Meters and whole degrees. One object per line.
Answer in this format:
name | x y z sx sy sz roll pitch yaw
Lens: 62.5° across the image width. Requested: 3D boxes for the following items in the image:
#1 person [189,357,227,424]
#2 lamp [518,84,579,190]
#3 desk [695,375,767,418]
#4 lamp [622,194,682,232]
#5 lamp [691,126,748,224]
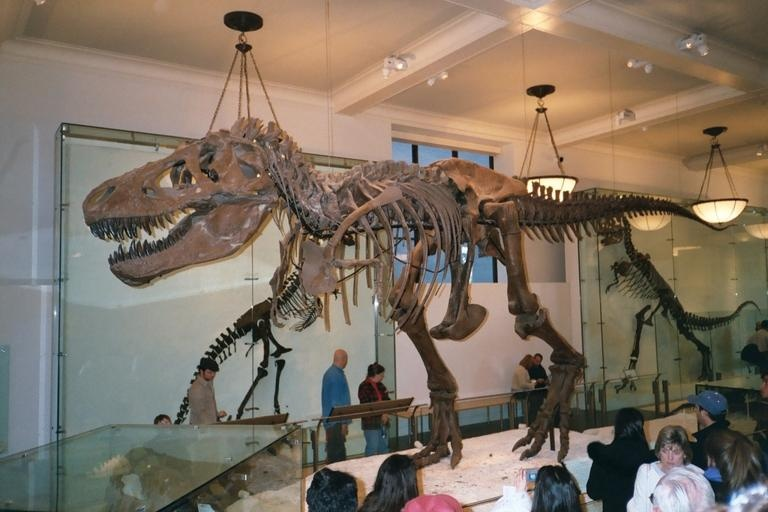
person | -2.095 1.565 7.349 0.383 0.747 0.512 1 -7 -14
lamp | 2.368 -1.714 9.512 1.021 1.570 1.007 -4 0 -21
desk | 3.939 1.594 7.016 0.623 0.392 0.627 -1 -4 20
lamp | 3.690 -0.541 8.925 0.594 0.371 0.603 -7 -12 42
lamp | 4.511 -1.112 8.588 0.716 1.283 0.711 3 -8 -17
